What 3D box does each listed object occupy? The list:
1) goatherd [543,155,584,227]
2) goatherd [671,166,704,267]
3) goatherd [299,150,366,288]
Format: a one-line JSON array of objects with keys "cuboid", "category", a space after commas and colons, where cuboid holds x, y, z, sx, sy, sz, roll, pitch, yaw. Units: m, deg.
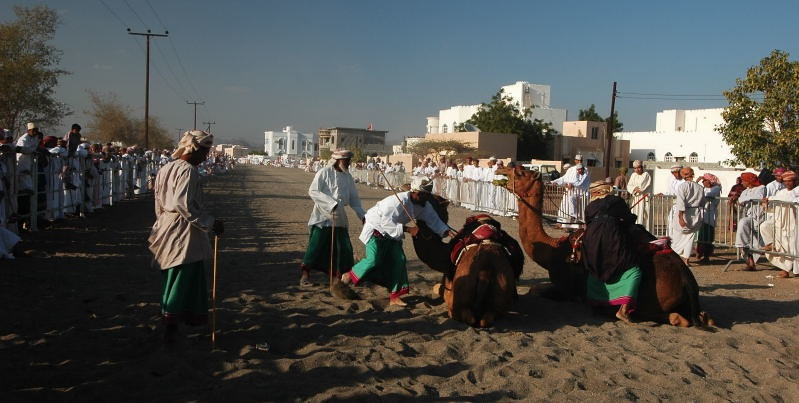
[{"cuboid": [6.413, -0.350, 21.805, 0.924, 2.253, 0.738, 7, -16, 17], "category": "goatherd"}, {"cuboid": [8.595, 0.421, 17.909, 1.196, 3.057, 1.102, 0, 1, -27], "category": "goatherd"}, {"cuboid": [-1.608, 0.335, 15.144, 1.871, 3.287, 1.217, 2, -5, -28], "category": "goatherd"}]
